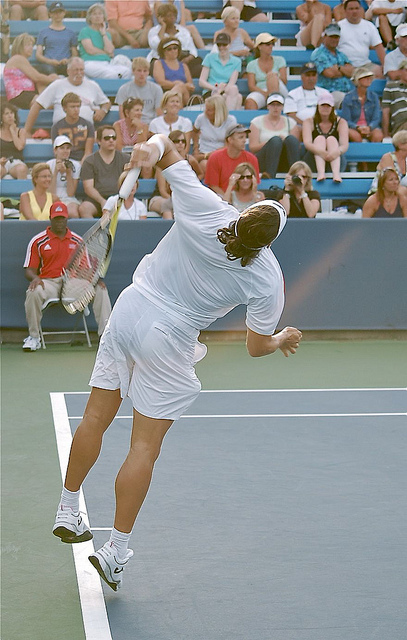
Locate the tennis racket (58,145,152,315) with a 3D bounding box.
[{"bbox_3d":[-0.428,-0.310,3.428,0.209,0.597,0.582,-4,10,-29],"label":"tennis racket"}]

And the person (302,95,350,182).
[{"bbox_3d":[1.580,-2.285,10.757,0.619,1.081,0.521,-1,9,-16],"label":"person"}]

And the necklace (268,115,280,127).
[{"bbox_3d":[0.901,-2.548,10.881,0.134,0.150,0.039,0,0,-1],"label":"necklace"}]

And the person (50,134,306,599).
[{"bbox_3d":[-0.145,0.204,3.371,0.898,1.848,0.485,2,9,1],"label":"person"}]

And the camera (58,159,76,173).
[{"bbox_3d":[-1.554,-1.759,9.767,0.127,0.085,0.121,2,9,-36],"label":"camera"}]

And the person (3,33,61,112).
[{"bbox_3d":[-2.300,-3.220,11.138,0.656,0.983,0.342,-1,9,-13],"label":"person"}]

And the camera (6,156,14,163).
[{"bbox_3d":[-2.379,-1.966,10.408,0.075,0.081,0.112,0,8,-13],"label":"camera"}]

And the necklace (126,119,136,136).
[{"bbox_3d":[-0.901,-2.376,10.439,0.173,0.152,0.037,-2,36,7],"label":"necklace"}]

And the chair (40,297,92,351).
[{"bbox_3d":[-1.345,0.047,8.213,0.519,0.644,0.518,1,9,-9],"label":"chair"}]

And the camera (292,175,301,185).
[{"bbox_3d":[1.052,-1.569,9.535,0.085,0.088,0.088,3,7,3],"label":"camera"}]
